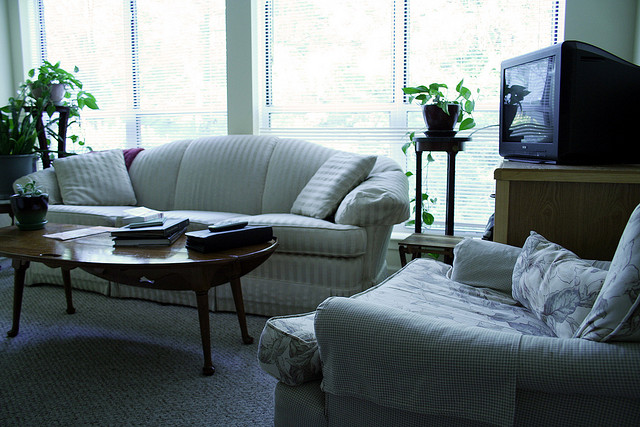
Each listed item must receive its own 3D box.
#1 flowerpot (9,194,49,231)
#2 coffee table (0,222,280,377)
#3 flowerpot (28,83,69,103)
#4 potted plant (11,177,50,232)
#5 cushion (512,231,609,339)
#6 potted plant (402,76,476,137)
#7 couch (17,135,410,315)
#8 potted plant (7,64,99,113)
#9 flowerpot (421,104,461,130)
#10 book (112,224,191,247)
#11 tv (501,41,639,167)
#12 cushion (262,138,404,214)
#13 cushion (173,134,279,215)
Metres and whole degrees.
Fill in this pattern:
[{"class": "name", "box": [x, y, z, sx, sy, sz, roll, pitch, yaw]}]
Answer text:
[{"class": "flowerpot", "box": [-1.797, 0.001, 2.939, 0.229, 0.186, 0.216, -4, 5, 0]}, {"class": "coffee table", "box": [-1.051, 0.453, 2.638, 1.524, 0.674, 0.619, 3, 12, 15]}, {"class": "flowerpot", "box": [-2.489, -1.093, 4.364, 0.225, 0.120, 0.208, -4, 8, -21]}, {"class": "potted plant", "box": [-1.782, -0.040, 2.936, 0.221, 0.254, 0.215, 4, 10, 30]}, {"class": "cushion", "box": [0.977, 0.320, 1.963, 0.233, 0.319, 0.564, 0, 4, -10]}, {"class": "potted plant", "box": [0.869, -0.709, 3.492, 0.600, 0.408, 0.544, 0, -3, 7]}, {"class": "couch", "box": [-0.821, 0.001, 3.626, 3.075, 1.063, 0.987, 3, 16, 20]}, {"class": "potted plant", "box": [-2.532, -1.185, 4.553, 0.861, 0.331, 0.813, 3, 5, 25]}, {"class": "flowerpot", "box": [0.832, -0.640, 3.259, 0.216, 0.130, 0.206, 4, 8, 26]}, {"class": "book", "box": [-0.916, 0.137, 2.636, 0.432, 0.052, 0.216, -7, 12, -35]}, {"class": "tv", "box": [1.315, -0.511, 2.719, 0.783, 0.641, 0.727, 1, 1, -23]}, {"class": "cushion", "box": [0.053, -0.248, 3.361, 0.671, 0.546, 0.184, 11, -10, 12]}, {"class": "cushion", "box": [-0.810, -0.325, 3.907, 0.958, 0.604, 0.436, 6, 13, 24]}]
